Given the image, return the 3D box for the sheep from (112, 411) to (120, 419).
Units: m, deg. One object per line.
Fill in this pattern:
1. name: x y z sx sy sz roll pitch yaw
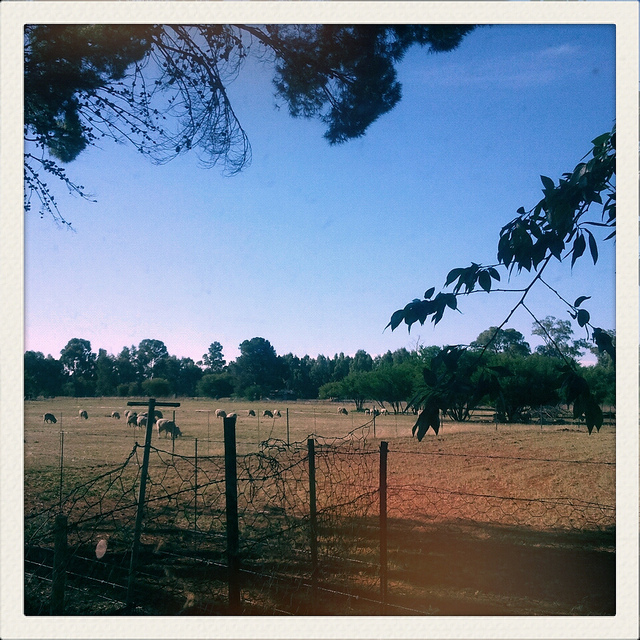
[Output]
1. sheep: -13.307 6.201 42.724 0.538 0.716 0.440 -4 -1 29

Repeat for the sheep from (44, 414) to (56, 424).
1. sheep: -15.398 5.623 37.372 0.562 0.466 0.972 4 -7 -24
